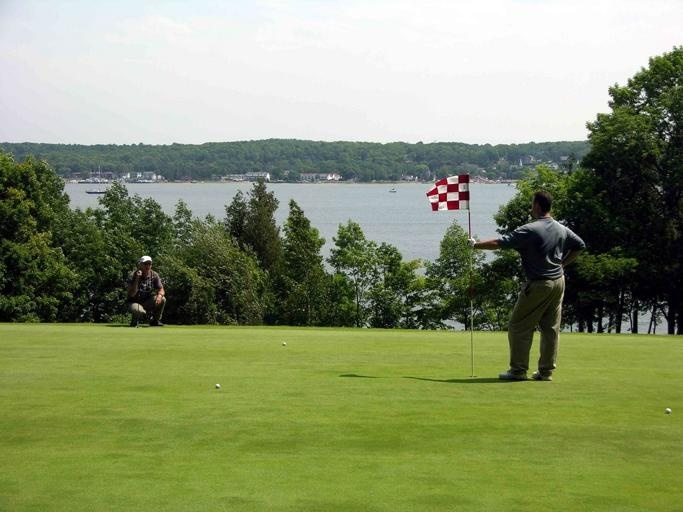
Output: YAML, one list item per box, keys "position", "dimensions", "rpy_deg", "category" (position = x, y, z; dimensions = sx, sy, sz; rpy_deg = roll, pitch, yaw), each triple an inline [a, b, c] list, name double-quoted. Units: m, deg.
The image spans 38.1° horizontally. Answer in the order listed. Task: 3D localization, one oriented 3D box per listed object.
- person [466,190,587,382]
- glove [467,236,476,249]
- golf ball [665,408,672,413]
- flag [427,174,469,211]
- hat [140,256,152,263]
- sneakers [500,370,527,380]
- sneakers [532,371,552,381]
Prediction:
- position: [2.965, 0.439, 15.271]
  dimensions: [1.515, 2.902, 0.724]
  rpy_deg: [0, 2, -33]
  category: "person"
- position: [2.035, -0.211, 15.336]
  dimensions: [0.137, 0.152, 0.172]
  rpy_deg: [2, -4, -7]
  category: "glove"
- position: [4.446, 2.100, 13.463]
  dimensions: [0.056, 0.048, 0.065]
  rpy_deg: [5, 2, 3]
  category: "golf ball"
- position: [1.817, -1.106, 16.900]
  dimensions: [0.710, 0.620, 1.135]
  rpy_deg: [1, 1, 5]
  category: "flag"
- position: [-5.106, 0.076, 25.764]
  dimensions: [0.245, 0.169, 0.334]
  rpy_deg: [3, -11, -27]
  category: "hat"
- position: [2.633, 1.829, 15.195]
  dimensions: [0.402, 0.170, 0.157]
  rpy_deg: [3, -2, 12]
  category: "sneakers"
- position: [3.065, 1.835, 15.113]
  dimensions: [0.121, 0.133, 0.275]
  rpy_deg: [-4, 6, -31]
  category: "sneakers"
